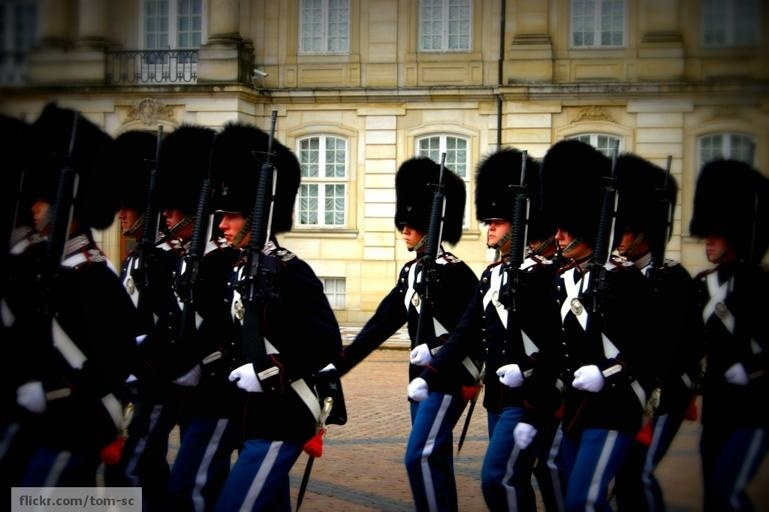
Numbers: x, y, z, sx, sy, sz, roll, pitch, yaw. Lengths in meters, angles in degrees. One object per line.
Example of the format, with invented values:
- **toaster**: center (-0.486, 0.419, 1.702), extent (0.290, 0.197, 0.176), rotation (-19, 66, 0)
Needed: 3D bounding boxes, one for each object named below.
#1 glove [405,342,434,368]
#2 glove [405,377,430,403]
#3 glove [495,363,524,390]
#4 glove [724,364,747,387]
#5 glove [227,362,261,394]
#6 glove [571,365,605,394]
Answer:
- **glove**: center (0.271, 0.810, 7.767), extent (0.077, 0.188, 0.148), rotation (11, 26, 11)
- **glove**: center (0.231, 1.025, 7.338), extent (0.145, 0.154, 0.181), rotation (-5, 38, 21)
- **glove**: center (0.916, 0.902, 7.196), extent (0.125, 0.192, 0.223), rotation (-2, 7, -42)
- **glove**: center (2.533, 0.867, 6.961), extent (0.165, 0.139, 0.123), rotation (5, -15, -6)
- **glove**: center (-0.942, 0.833, 6.522), extent (0.162, 0.227, 0.224), rotation (-1, 7, -35)
- **glove**: center (1.418, 0.861, 6.727), extent (0.221, 0.163, 0.161), rotation (-4, 6, -6)
